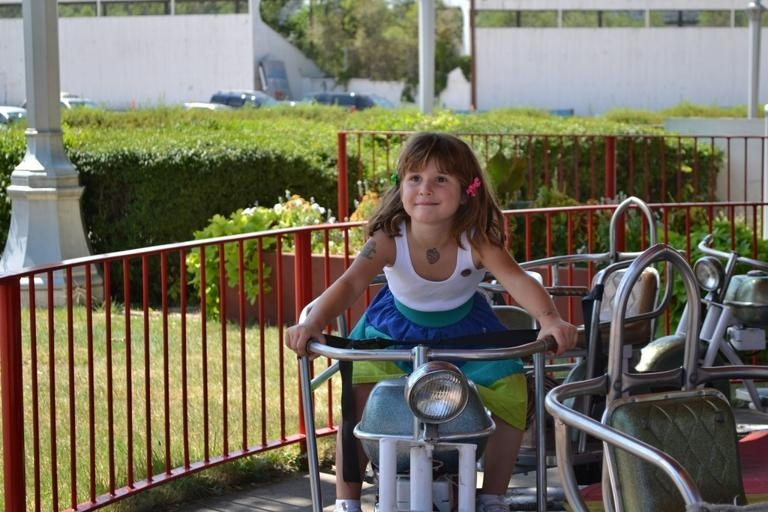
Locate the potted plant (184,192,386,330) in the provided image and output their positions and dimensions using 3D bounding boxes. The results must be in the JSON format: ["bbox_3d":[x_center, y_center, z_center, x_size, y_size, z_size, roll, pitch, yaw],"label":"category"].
[{"bbox_3d":[-1.591,-0.233,20.630,1.836,1.026,1.898,6,14,41],"label":"potted plant"}]
